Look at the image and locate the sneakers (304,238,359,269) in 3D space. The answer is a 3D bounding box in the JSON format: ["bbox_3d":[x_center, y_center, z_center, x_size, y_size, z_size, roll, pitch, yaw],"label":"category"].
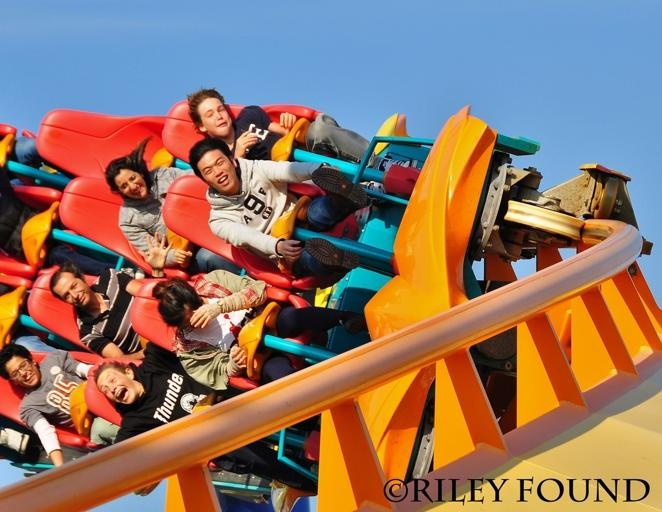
[{"bbox_3d":[-0.006,0.002,5.362,0.437,0.145,0.182,19,-16,-1],"label":"sneakers"}]
